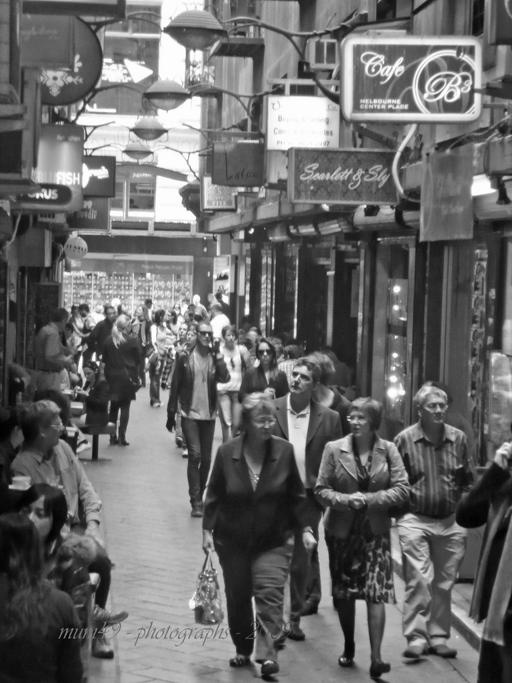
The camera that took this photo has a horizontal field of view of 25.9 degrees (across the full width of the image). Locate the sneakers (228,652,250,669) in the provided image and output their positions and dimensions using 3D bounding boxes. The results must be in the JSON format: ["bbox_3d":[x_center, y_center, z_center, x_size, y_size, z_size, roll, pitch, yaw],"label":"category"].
[{"bbox_3d":[-0.091,1.673,5.826,0.052,0.051,0.123,-42,-7,28],"label":"sneakers"}]

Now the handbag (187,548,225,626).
[{"bbox_3d":[-0.255,1.328,6.034,0.155,0.430,0.172,2,-11,-3],"label":"handbag"}]

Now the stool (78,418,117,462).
[{"bbox_3d":[-1.923,1.112,13.754,0.328,0.819,0.670,1,1,9],"label":"stool"}]

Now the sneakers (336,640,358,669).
[{"bbox_3d":[0.484,1.661,5.965,0.050,0.138,0.167,3,3,-4],"label":"sneakers"}]

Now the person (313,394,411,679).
[{"bbox_3d":[0.541,1.028,5.916,0.502,1.413,0.631,2,3,9],"label":"person"}]
